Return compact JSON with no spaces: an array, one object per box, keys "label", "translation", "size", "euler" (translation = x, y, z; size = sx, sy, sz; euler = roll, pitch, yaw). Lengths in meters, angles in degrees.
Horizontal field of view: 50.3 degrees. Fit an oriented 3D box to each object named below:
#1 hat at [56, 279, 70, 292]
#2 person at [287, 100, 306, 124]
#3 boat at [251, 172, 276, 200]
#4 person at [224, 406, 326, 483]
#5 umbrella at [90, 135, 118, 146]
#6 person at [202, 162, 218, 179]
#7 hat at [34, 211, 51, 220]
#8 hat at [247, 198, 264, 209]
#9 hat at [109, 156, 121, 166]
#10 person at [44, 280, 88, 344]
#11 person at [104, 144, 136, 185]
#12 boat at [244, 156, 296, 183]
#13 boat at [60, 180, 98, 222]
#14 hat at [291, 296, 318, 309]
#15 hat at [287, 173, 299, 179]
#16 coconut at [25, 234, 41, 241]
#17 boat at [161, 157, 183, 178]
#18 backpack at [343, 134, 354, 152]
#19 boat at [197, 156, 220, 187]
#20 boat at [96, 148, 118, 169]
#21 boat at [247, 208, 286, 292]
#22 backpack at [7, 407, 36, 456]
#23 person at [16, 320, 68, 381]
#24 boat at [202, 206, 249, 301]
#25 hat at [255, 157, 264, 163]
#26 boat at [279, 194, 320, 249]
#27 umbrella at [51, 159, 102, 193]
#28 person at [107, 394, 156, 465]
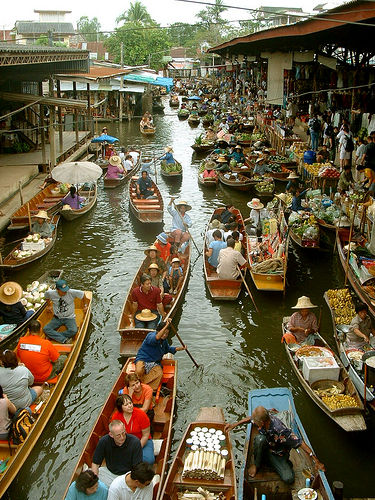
[{"label":"hat","translation":[-2.279,0.644,7.285],"size":[0.170,0.129,0.246],"euler":[-30,62,-36]},{"label":"person","translation":[6.117,-8.007,23.097],"size":[0.857,1.304,1.756],"euler":[4,20,13]},{"label":"boat","translation":[3.308,-2.676,17.333],"size":[0.814,0.744,1.300],"euler":[1,20,5]},{"label":"person","translation":[0.887,2.033,4.219],"size":[1.063,0.770,0.323],"euler":[1,7,31]},{"label":"umbrella","translation":[-4.421,-6.071,21.740],"size":[1.104,0.369,1.096],"euler":[-4,10,-21]},{"label":"person","translation":[1.063,-3.789,19.245],"size":[0.604,0.425,0.850],"euler":[-3,67,2]},{"label":"hat","translation":[-4.375,-1.041,12.222],"size":[0.367,0.143,0.402],"euler":[10,0,16]},{"label":"hat","translation":[2.068,-1.397,12.370],"size":[0.486,0.172,0.483],"euler":[9,5,-4]},{"label":"hat","translation":[-3.400,-4.187,18.790],"size":[0.425,0.427,0.450],"euler":[0,20,0]},{"label":"person","translation":[-2.292,1.095,7.465],"size":[0.863,1.112,0.825],"euler":[-5,32,-19]},{"label":"person","translation":[-3.142,-4.170,19.870],"size":[0.802,0.510,3.363],"euler":[12,29,-1]},{"label":"boat","translation":[4.158,-3.707,19.185],"size":[1.149,0.550,2.223],"euler":[-4,32,-6]},{"label":"boat","translation":[-4.113,-1.907,15.580],"size":[0.612,0.488,2.395],"euler":[4,30,2]},{"label":"hat","translation":[2.422,1.103,8.317],"size":[0.529,0.238,0.539],"euler":[-2,4,39]},{"label":"hat","translation":[3.938,-2.766,14.916],"size":[0.304,0.249,0.613],"euler":[3,20,8]},{"label":"coconut","translation":[-4.490,-0.351,11.605],"size":[0.295,0.134,0.225],"euler":[11,27,10]},{"label":"boat","translation":[-0.847,-4.089,20.280],"size":[0.988,0.867,1.606],"euler":[-3,20,-8]},{"label":"backpack","translation":[5.983,-3.947,14.875],"size":[0.498,0.636,0.289],"euler":[-17,26,-40]},{"label":"boat","translation":[0.989,-3.762,19.535],"size":[0.953,1.118,2.154],"euler":[0,19,2]},{"label":"boat","translation":[-4.417,-5.256,21.792],"size":[0.760,0.409,2.313],"euler":[3,43,2]},{"label":"boat","translation":[2.076,0.044,10.549],"size":[0.588,0.877,2.231],"euler":[4,29,3]},{"label":"backpack","translation":[-2.014,2.272,5.058],"size":[0.235,0.352,0.365],"euler":[-7,54,16]},{"label":"person","translation":[-2.327,1.662,6.459],"size":[0.722,1.058,0.731],"euler":[5,35,-1]},{"label":"boat","translation":[0.861,0.132,10.899],"size":[0.821,0.485,3.530],"euler":[-1,39,3]},{"label":"hat","translation":[3.331,-4.121,18.395],"size":[0.330,0.240,0.720],"euler":[3,20,10]},{"label":"boat","translation":[3.626,-0.924,12.851],"size":[0.878,0.584,3.769],"euler":[-2,26,2]},{"label":"umbrella","translation":[-3.930,-2.522,14.325],"size":[1.222,0.916,1.132],"euler":[12,48,1]},{"label":"person","translation":[-0.599,2.051,4.380],"size":[0.421,0.919,0.526],"euler":[-14,17,-10]}]
